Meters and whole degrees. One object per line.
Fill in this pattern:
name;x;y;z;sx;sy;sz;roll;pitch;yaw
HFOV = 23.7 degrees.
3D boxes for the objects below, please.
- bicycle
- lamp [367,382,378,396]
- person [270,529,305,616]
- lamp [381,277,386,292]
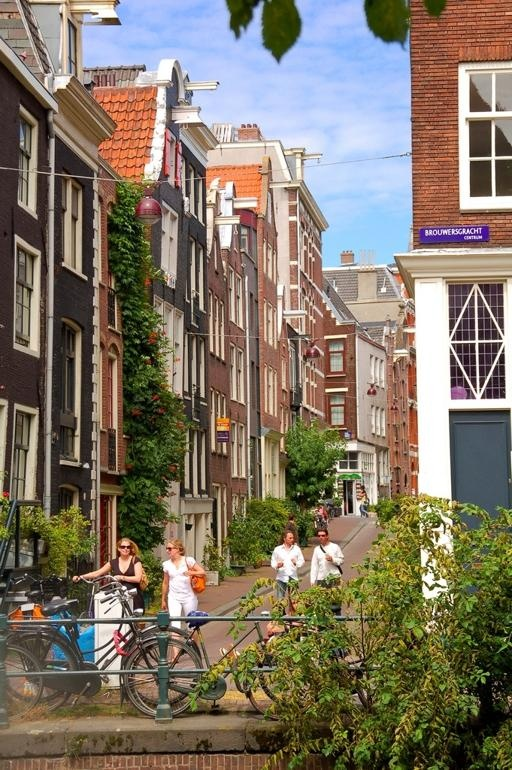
bicycle;-0.852;2.117;9.357;2.192;0.841;0.764;-2;-9;10
lamp;7.019;0.157;73.394;0.572;0.460;0.744;-4;-14;7
person;0.437;2.511;15.813;0.386;1.226;0.368;-3;11;-4
lamp;9.591;-7.528;91.080;0.348;1.156;0.323;-2;-9;11
